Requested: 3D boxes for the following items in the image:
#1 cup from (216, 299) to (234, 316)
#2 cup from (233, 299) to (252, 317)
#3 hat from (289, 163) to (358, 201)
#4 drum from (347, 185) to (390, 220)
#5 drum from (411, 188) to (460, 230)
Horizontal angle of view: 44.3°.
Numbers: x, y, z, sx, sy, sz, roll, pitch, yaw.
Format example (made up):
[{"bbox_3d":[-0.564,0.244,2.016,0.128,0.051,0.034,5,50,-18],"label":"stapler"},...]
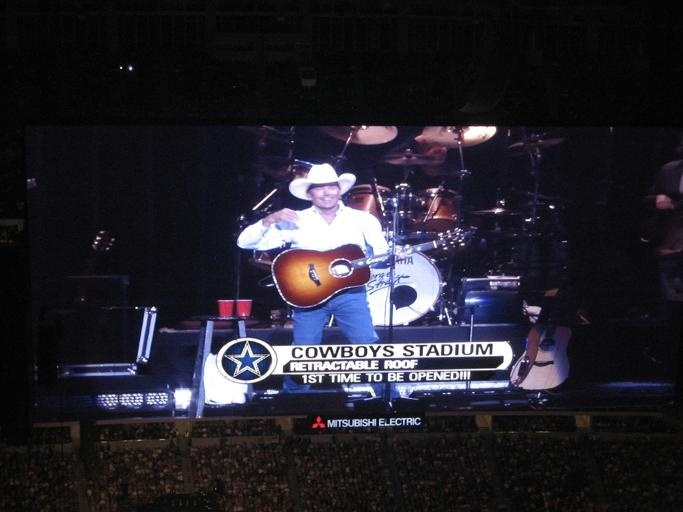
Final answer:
[{"bbox_3d":[-1.065,0.476,7.741,0.165,0.146,0.112,6,81,-25],"label":"cup"},{"bbox_3d":[-0.909,0.471,7.701,0.171,0.153,0.116,4,84,-22],"label":"cup"},{"bbox_3d":[-0.203,-0.714,7.763,0.393,0.438,0.157,-24,55,29],"label":"hat"},{"bbox_3d":[0.233,-0.532,7.786,0.375,0.192,0.238,15,61,5],"label":"drum"},{"bbox_3d":[0.881,-0.408,7.830,0.436,0.385,0.288,-4,75,16],"label":"drum"}]
